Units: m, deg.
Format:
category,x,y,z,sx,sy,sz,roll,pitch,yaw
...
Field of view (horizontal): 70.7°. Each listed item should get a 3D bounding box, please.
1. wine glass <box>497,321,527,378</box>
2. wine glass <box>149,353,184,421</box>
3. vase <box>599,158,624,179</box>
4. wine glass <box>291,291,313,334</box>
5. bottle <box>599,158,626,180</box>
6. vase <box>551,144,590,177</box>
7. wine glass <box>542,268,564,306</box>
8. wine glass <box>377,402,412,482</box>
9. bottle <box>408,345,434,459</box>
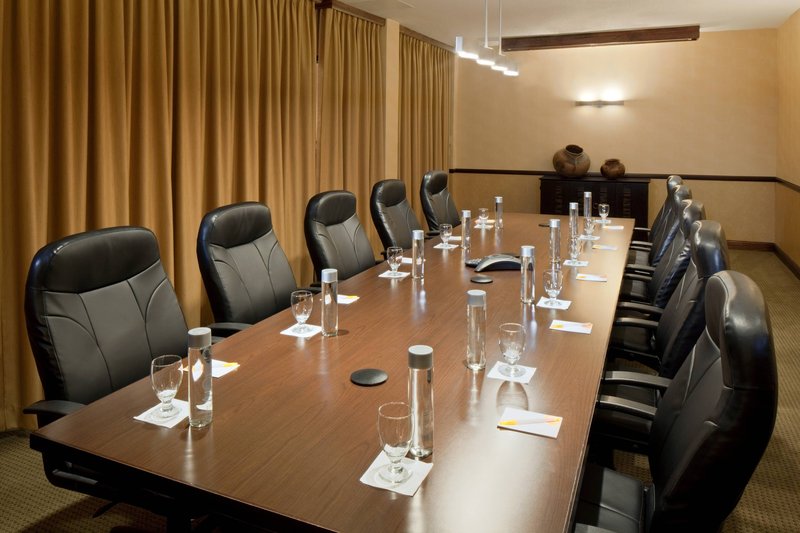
category,x,y,z,sx,sy,sz,roll,pitch,yaw
wine glass,0.462,0.342,2.342,0.106,0.196,0.107,2,4,25
wine glass,-0.867,0.420,2.109,0.104,0.231,0.163,-9,17,-26
vase,3.056,-1.425,8.171,0.275,0.221,0.295,-14,17,22
wine glass,-0.476,0.206,2.777,0.119,0.216,0.128,11,14,33
bottle,3.061,-1.420,8.163,0.293,0.231,0.310,-10,21,4
vase,2.499,-1.567,8.342,0.440,0.343,0.449,-7,24,-12
wine glass,0.824,0.108,3.056,0.145,0.185,0.156,1,9,14
wine glass,-0.018,0.553,1.835,0.097,0.233,0.154,-3,16,-3
bottle,0.067,0.456,1.896,0.082,0.357,0.115,-1,15,1
